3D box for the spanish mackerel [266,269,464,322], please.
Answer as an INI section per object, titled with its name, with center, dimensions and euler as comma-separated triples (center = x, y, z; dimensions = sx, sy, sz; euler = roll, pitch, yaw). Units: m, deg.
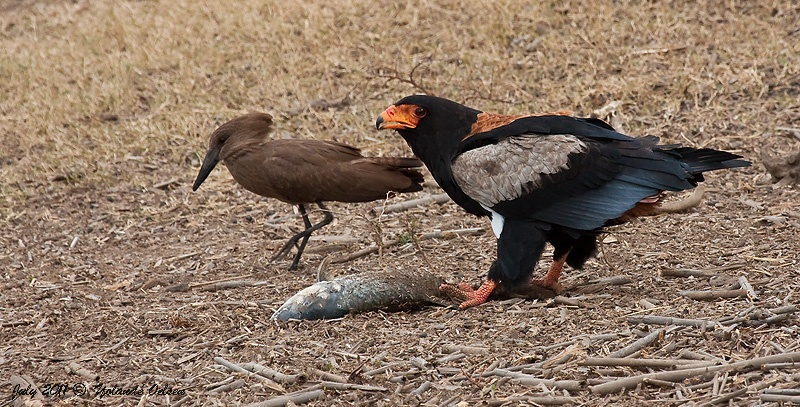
[spanish mackerel]
center = -0.394, 1.317, 11.891
dimensions = 2.636, 0.450, 0.702
euler = -3, 29, -3
